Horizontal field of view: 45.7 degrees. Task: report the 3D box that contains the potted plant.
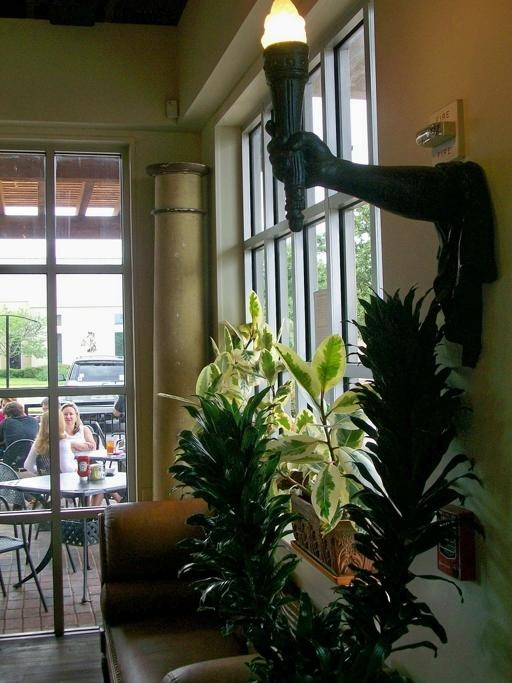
[{"bbox_3d":[0.113,0.265,1.409,0.243,0.465,0.431,3,-21,36],"label":"potted plant"}]
